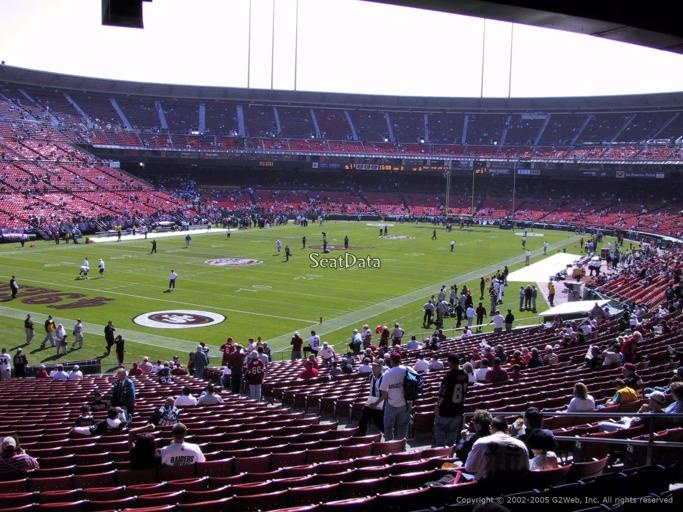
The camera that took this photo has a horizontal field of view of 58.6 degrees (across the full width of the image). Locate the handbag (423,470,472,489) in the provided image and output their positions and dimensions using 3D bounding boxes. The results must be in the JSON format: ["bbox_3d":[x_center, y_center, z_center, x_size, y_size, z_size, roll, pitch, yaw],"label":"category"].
[{"bbox_3d":[1.252,2.591,7.134,0.478,0.094,0.335,-1,0,-34],"label":"handbag"}]

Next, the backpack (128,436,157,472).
[{"bbox_3d":[-2.687,2.646,8.260,0.389,0.466,0.184,2,-16,-4],"label":"backpack"}]

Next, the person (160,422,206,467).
[{"bbox_3d":[-2.168,2.560,8.309,0.616,0.570,0.315,4,-15,-10],"label":"person"}]

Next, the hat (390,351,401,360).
[{"bbox_3d":[0.879,1.653,10.191,0.159,0.064,0.141,2,-1,-32],"label":"hat"}]
